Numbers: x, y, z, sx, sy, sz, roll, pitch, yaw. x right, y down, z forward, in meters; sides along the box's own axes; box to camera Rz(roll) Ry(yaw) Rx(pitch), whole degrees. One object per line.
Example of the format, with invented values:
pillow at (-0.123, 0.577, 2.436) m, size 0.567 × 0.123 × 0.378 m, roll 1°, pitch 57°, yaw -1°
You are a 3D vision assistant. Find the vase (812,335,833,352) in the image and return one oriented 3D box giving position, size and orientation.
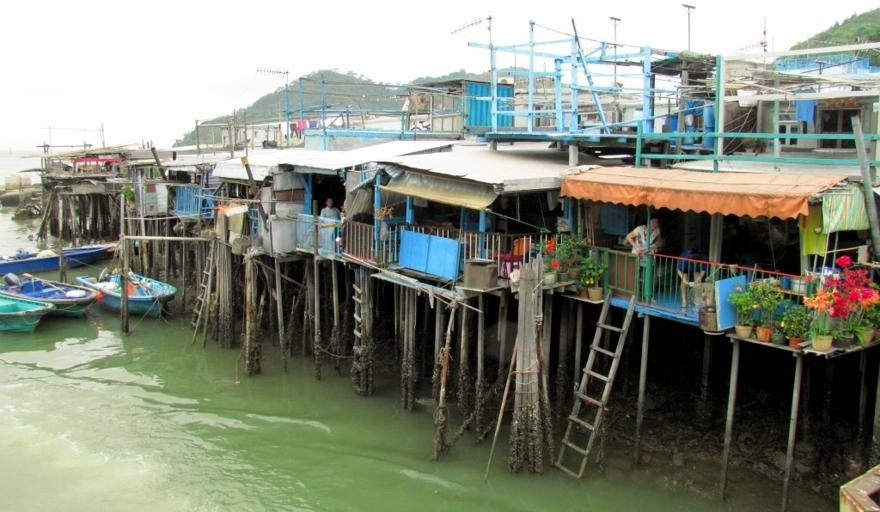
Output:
vase at (9.697, 2.226, 18.463) m, size 0.480 × 0.297 × 0.451 m, roll -2°, pitch -3°, yaw 28°

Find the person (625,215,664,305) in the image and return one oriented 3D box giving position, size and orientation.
person at (5.948, 0.033, 21.055) m, size 0.825 × 2.303 × 1.285 m, roll 0°, pitch 9°, yaw 14°

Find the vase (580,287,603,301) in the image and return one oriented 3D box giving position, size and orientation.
vase at (4.388, 1.092, 21.173) m, size 0.667 × 0.389 × 0.277 m, roll 0°, pitch 9°, yaw 11°

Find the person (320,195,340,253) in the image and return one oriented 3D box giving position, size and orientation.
person at (-3.877, -1.045, 25.559) m, size 0.784 × 1.868 × 1.567 m, roll -3°, pitch 9°, yaw -8°
